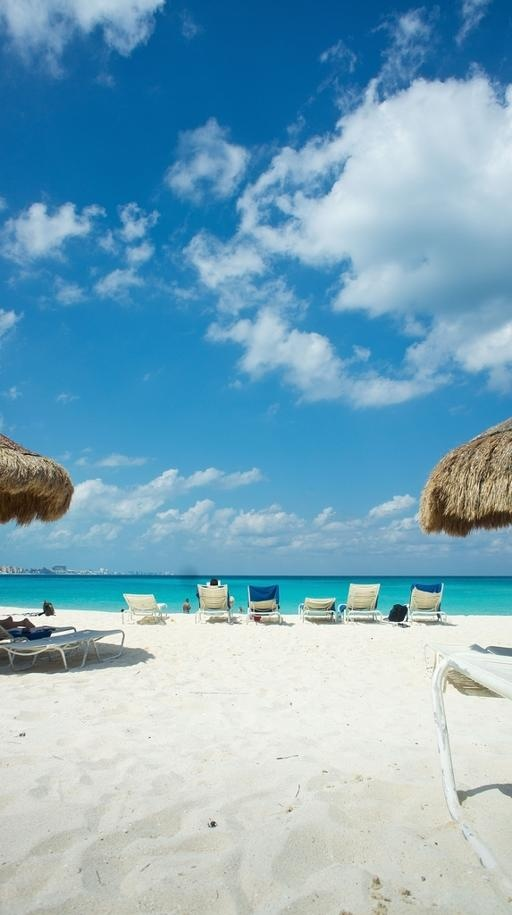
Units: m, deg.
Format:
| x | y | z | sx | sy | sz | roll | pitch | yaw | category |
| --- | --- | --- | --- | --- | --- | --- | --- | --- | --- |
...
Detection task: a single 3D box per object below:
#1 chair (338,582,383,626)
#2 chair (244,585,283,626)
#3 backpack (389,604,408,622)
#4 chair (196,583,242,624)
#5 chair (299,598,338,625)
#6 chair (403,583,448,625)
| x | y | z | sx | sy | sz | roll | pitch | yaw | category |
| --- | --- | --- | --- | --- | --- | --- | --- | --- | --- |
| 2.093 | 2.915 | 12.298 | 0.840 | 0.797 | 1.045 | -1 | -4 | 6 | chair |
| 0.179 | 3.005 | 12.516 | 0.685 | 0.723 | 0.941 | 0 | -4 | 1 | chair |
| 2.735 | 2.996 | 11.654 | 0.251 | 0.420 | 0.392 | 9 | -21 | 2 | backpack |
| -0.818 | 3.030 | 12.643 | 0.617 | 0.877 | 1.172 | 0 | -6 | 1 | chair |
| 1.284 | 3.103 | 12.485 | 0.703 | 0.508 | 0.777 | -1 | -4 | 6 | chair |
| 3.645 | 3.121 | 13.164 | 0.737 | 0.796 | 2.402 | -1 | -4 | 16 | chair |
